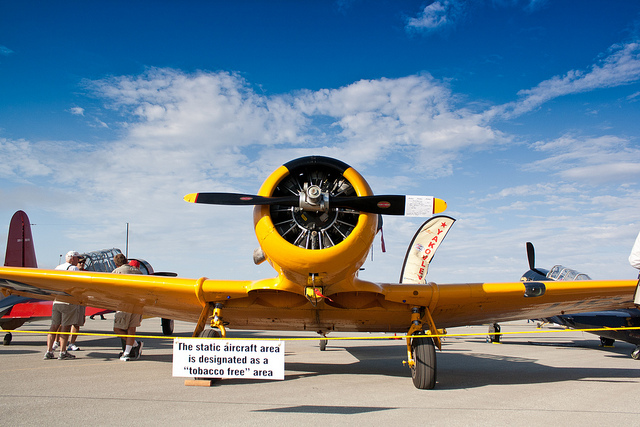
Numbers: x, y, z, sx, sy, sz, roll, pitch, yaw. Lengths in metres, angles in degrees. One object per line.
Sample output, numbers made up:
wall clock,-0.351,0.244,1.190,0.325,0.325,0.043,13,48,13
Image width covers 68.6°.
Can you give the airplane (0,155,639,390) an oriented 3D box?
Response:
airplane,0.034,1.172,9.085,11.479,4.021,3.324,2,-12,-4
